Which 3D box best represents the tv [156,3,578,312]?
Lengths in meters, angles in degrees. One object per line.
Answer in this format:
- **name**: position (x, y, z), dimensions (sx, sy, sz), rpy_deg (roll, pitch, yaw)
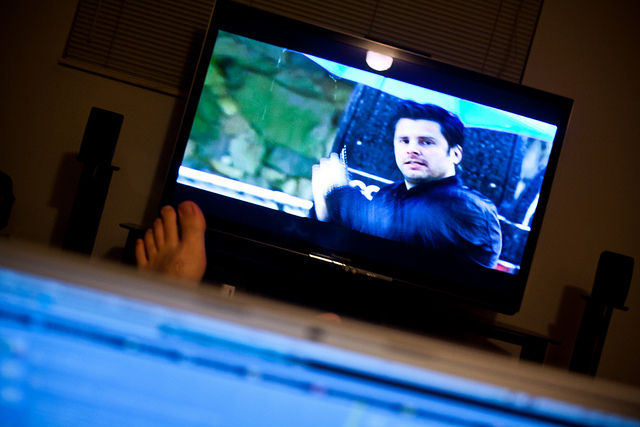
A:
- **tv**: position (0.130, -0.226, 2.439), dimensions (1.385, 0.788, 0.056), rpy_deg (16, -2, 3)
